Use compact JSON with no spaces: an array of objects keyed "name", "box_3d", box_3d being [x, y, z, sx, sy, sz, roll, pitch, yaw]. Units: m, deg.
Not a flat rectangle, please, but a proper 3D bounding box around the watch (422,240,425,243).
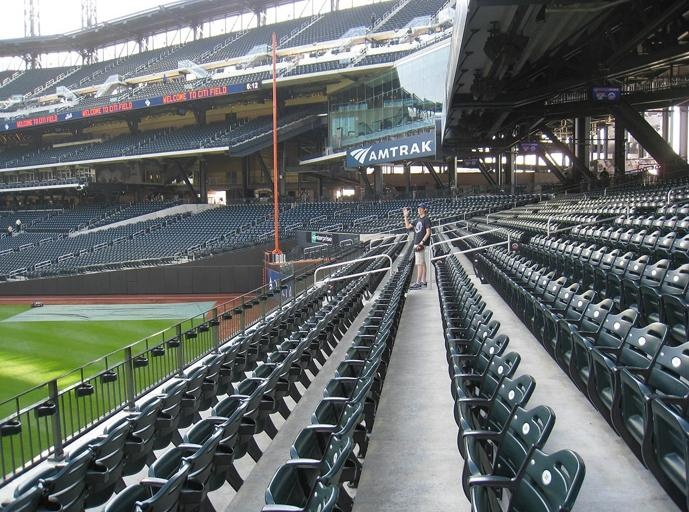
[{"name":"watch","box_3d":[1.265,-0.224,8.742,0.033,0.057,0.095,-4,5,7]}]
